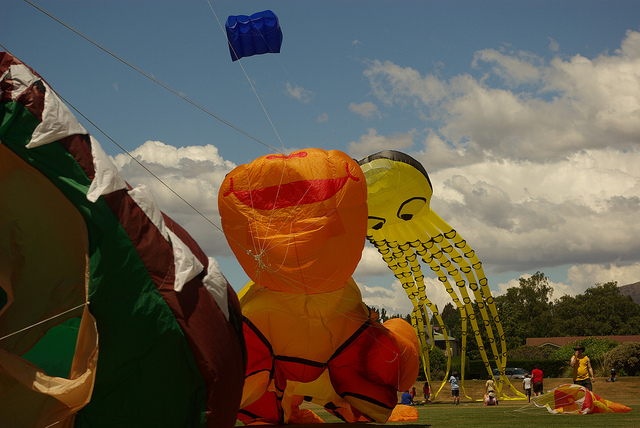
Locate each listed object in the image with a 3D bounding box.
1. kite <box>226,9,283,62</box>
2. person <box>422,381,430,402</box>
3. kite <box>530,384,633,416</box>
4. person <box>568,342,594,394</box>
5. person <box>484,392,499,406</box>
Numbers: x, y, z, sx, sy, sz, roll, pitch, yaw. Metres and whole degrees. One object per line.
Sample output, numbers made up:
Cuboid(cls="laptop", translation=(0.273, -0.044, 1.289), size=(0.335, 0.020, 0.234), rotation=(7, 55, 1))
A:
Cuboid(cls="kite", translation=(-1.731, -4.905, 16.979), size=(1.536, 1.589, 0.464), rotation=(15, -20, -19))
Cuboid(cls="person", translation=(5.289, 8.674, 30.750), size=(0.253, 0.895, 0.989), rotation=(-1, -27, 10))
Cuboid(cls="kite", translation=(7.576, 5.569, 18.596), size=(2.457, 1.019, 1.225), rotation=(-20, -35, 40))
Cuboid(cls="person", translation=(7.873, 4.595, 18.785), size=(0.601, 1.616, 2.168), rotation=(-6, -28, 20))
Cuboid(cls="person", translation=(7.278, 7.865, 26.531), size=(0.768, 0.555, 0.511), rotation=(-17, -33, 37))
